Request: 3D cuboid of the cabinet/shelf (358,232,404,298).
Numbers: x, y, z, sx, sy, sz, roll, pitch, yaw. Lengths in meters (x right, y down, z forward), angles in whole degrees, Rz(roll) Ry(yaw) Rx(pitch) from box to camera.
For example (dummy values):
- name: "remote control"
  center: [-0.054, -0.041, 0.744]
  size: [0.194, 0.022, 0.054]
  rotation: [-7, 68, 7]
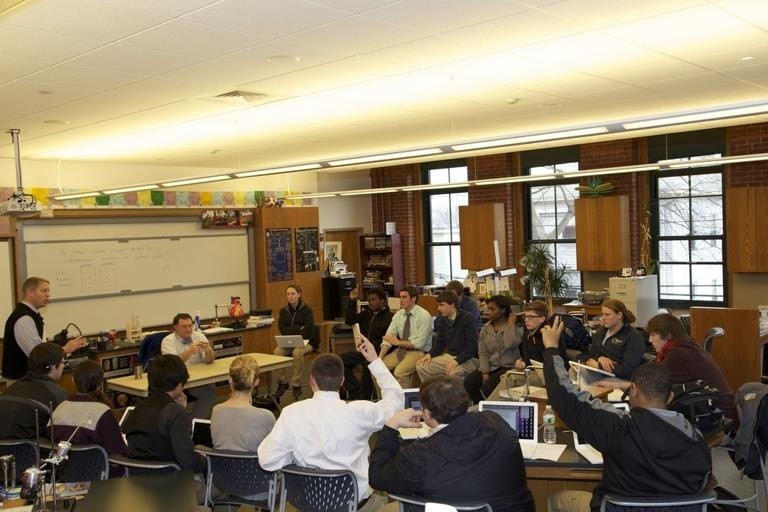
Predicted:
- name: "cabinet/shelf"
  center: [-0.212, 0.105, 14.133]
  size: [0.733, 1.174, 0.304]
  rotation: [4, 9, 2]

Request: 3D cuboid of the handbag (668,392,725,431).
- name: "handbag"
  center: [2.395, 1.163, 4.360]
  size: [0.381, 0.380, 0.291]
  rotation: [9, -4, -24]

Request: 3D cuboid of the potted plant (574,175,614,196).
- name: "potted plant"
  center: [4.108, -1.360, 10.752]
  size: [0.671, 0.400, 0.397]
  rotation: [-3, 1, 22]
